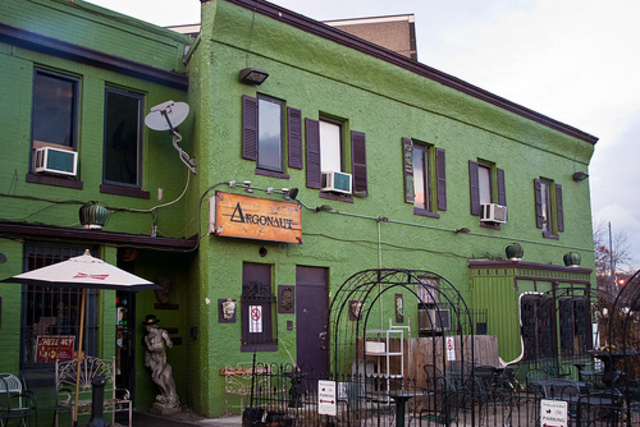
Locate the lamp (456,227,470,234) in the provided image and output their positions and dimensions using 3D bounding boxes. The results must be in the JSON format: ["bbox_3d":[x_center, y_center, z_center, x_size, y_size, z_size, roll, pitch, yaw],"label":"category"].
[{"bbox_3d":[4.442,0.528,21.237,0.546,0.178,0.163,-2,4,-16],"label":"lamp"}]

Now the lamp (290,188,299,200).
[{"bbox_3d":[-0.711,-0.519,17.770,0.229,0.278,0.457,0,-15,-2],"label":"lamp"}]

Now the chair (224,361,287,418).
[{"bbox_3d":[-1.613,4.217,16.026,1.450,1.466,0.840,6,-14,-27],"label":"chair"}]

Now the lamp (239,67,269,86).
[{"bbox_3d":[-1.760,-3.595,17.464,0.632,0.304,0.584,8,-18,-28],"label":"lamp"}]

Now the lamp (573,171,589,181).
[{"bbox_3d":[9.927,-1.541,25.881,0.571,0.566,0.157,2,4,-18],"label":"lamp"}]

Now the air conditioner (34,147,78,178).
[{"bbox_3d":[-6.309,-1.210,16.097,0.472,0.605,0.830,-2,-6,36],"label":"air conditioner"}]

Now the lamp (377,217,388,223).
[{"bbox_3d":[1.753,0.178,19.473,0.237,0.108,0.150,3,18,-18],"label":"lamp"}]

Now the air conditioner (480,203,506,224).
[{"bbox_3d":[5.639,0.162,22.095,1.029,0.749,0.556,12,-19,-43],"label":"air conditioner"}]
